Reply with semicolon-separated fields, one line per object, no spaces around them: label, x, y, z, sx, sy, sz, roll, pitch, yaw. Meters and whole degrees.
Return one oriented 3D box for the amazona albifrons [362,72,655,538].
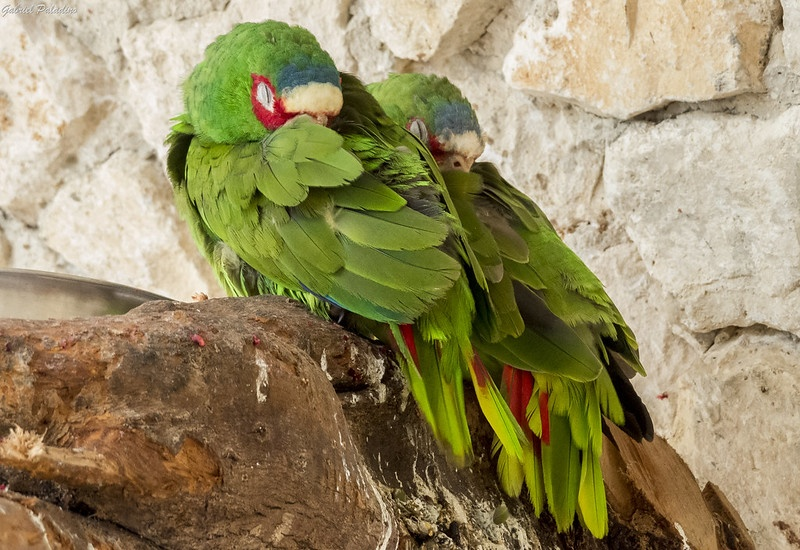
amazona albifrons;0.228;-0.033;3.556;0.458;1.089;0.834;11;-25;-14
